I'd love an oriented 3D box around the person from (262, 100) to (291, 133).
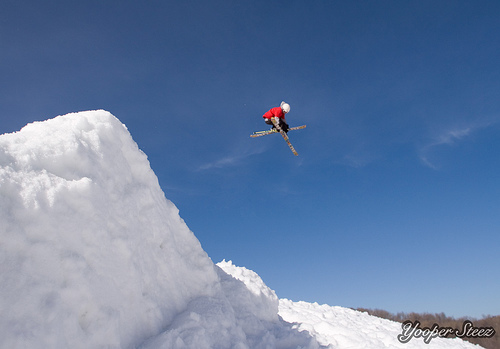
[{"bbox_3d":[1.457,-3.162,28.862,1.430,1.704,1.079,-1,-3,17],"label":"person"}]
